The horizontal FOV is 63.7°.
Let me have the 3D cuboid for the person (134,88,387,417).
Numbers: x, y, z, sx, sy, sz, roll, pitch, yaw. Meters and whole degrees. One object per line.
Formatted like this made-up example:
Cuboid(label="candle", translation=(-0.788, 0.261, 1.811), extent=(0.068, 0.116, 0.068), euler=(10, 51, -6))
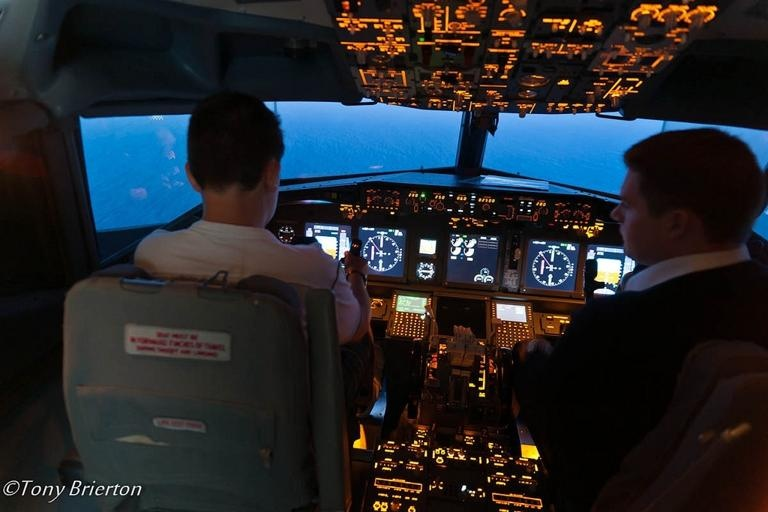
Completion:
Cuboid(label="person", translation=(-0.582, -0.229, 2.983), extent=(1.244, 1.029, 1.084), euler=(11, 20, 20))
